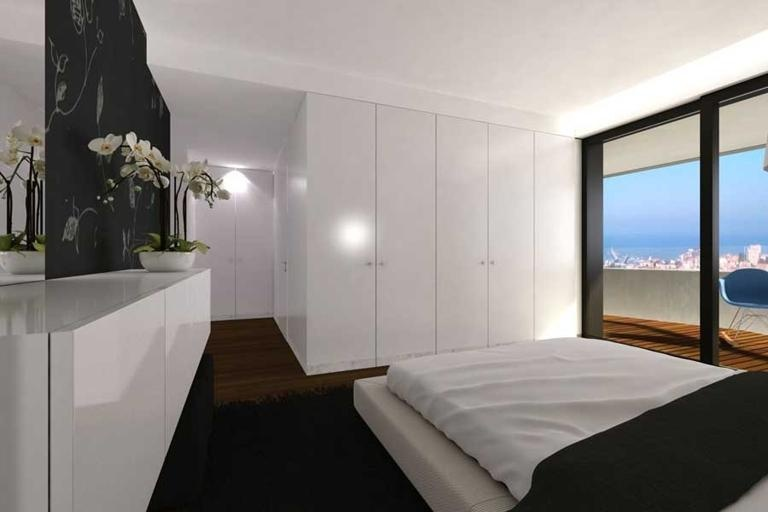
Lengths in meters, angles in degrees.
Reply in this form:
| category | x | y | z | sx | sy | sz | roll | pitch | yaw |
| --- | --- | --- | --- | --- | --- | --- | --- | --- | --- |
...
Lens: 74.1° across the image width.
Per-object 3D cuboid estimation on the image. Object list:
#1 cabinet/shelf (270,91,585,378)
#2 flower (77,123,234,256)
| category | x | y | z | sx | sy | sz | roll | pitch | yaw |
| --- | --- | --- | --- | --- | --- | --- | --- | --- | --- |
| cabinet/shelf | 0.419 | -0.243 | 5.140 | 2.651 | 2.166 | 1.030 | 0 | 0 | -22 |
| flower | -1.918 | -0.488 | 4.075 | 1.087 | 1.021 | 0.910 | -2 | -2 | 13 |
